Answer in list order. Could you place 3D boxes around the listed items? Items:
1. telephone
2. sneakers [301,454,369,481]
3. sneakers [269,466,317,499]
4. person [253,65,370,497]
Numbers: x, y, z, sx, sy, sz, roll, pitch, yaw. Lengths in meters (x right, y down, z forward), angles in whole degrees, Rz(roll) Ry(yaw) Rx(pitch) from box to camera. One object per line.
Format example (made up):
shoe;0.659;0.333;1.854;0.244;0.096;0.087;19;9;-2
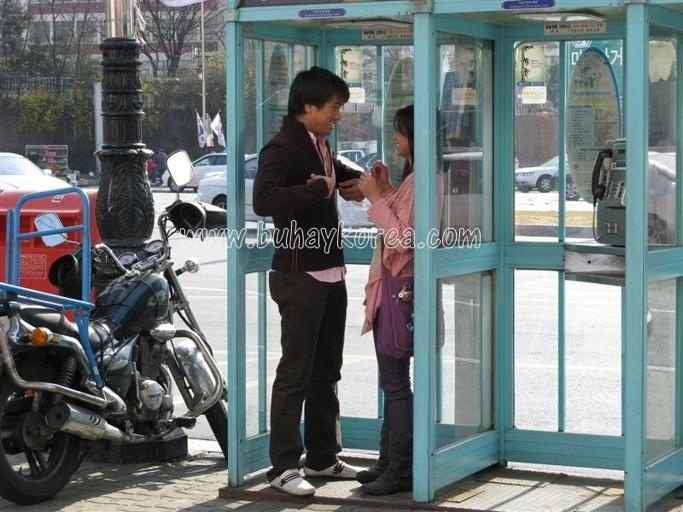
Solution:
telephone;1.684;-0.396;6.139;0.242;0.653;0.084;4;7;45
sneakers;-0.043;1.391;6.492;0.398;0.185;0.151;0;0;-1
sneakers;-0.292;1.411;6.094;0.253;0.117;0.127;2;2;36
person;-0.198;0.155;6.152;0.492;2.653;0.861;2;6;30
